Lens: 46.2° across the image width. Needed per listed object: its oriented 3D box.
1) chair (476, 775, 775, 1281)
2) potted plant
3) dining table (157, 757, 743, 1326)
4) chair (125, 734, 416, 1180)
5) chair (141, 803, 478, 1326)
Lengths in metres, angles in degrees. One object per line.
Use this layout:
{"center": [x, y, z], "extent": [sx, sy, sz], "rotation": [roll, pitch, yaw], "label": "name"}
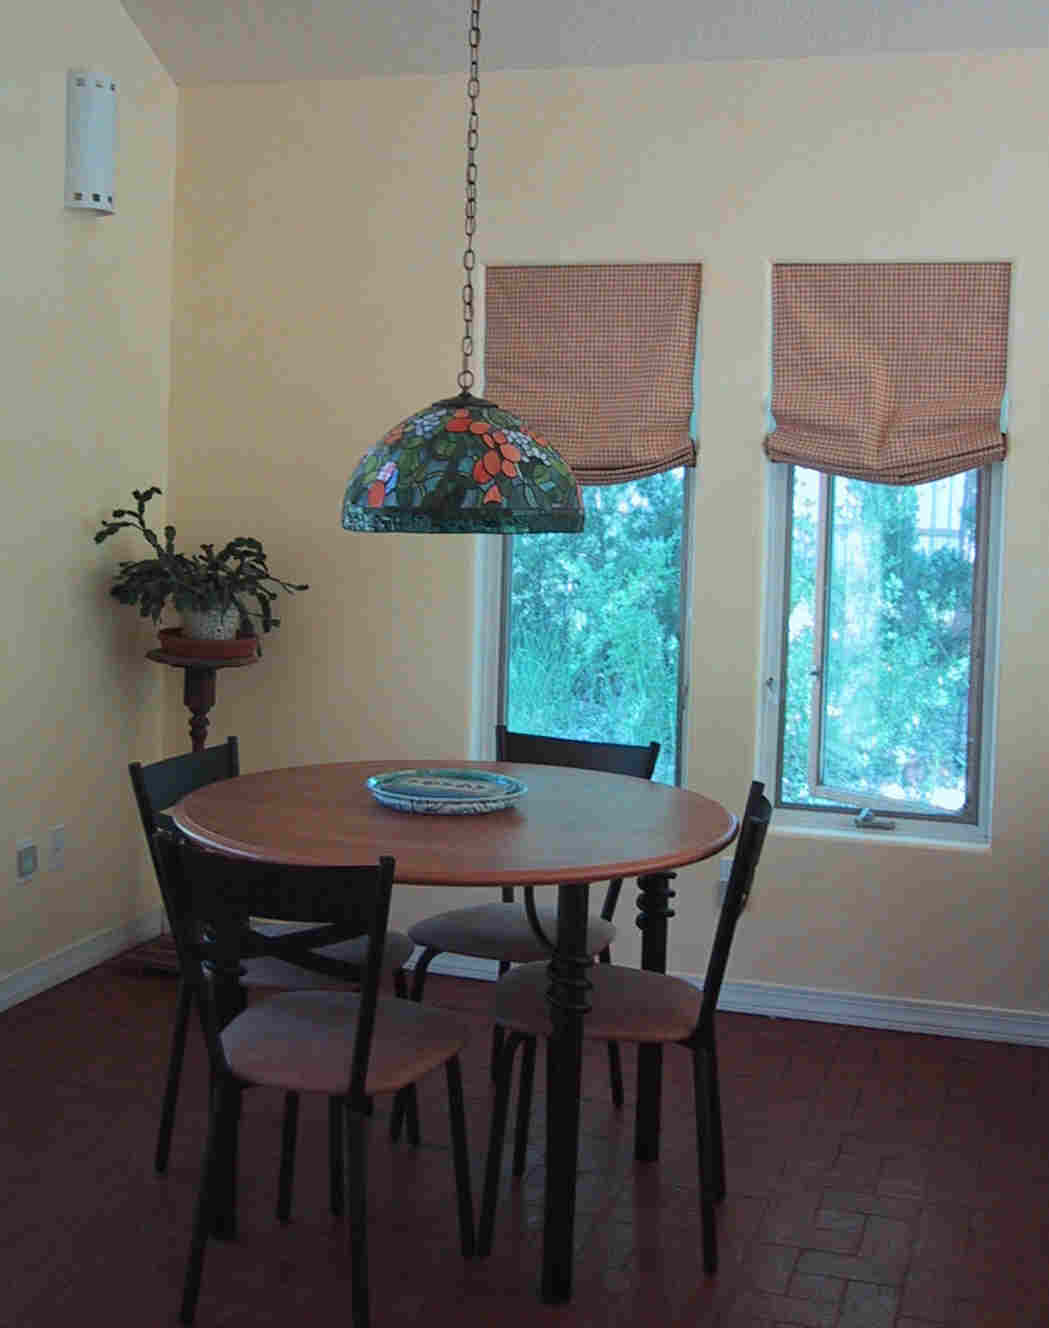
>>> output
{"center": [0.198, 0.709, 2.788], "extent": [0.821, 1.279, 0.707], "rotation": [2, -1, 6], "label": "chair"}
{"center": [-1.005, -0.325, 3.889], "extent": [0.633, 0.489, 0.506], "rotation": [2, 3, -2], "label": "potted plant"}
{"center": [-0.131, 0.529, 2.401], "extent": [0.915, 0.669, 0.950], "rotation": [3, 6, 34], "label": "dining table"}
{"center": [-0.457, 0.583, 2.611], "extent": [0.406, 0.632, 0.415], "rotation": [5, 24, 4], "label": "chair"}
{"center": [-0.349, 0.671, 2.161], "extent": [0.582, 0.801, 0.637], "rotation": [1, 4, -16], "label": "chair"}
